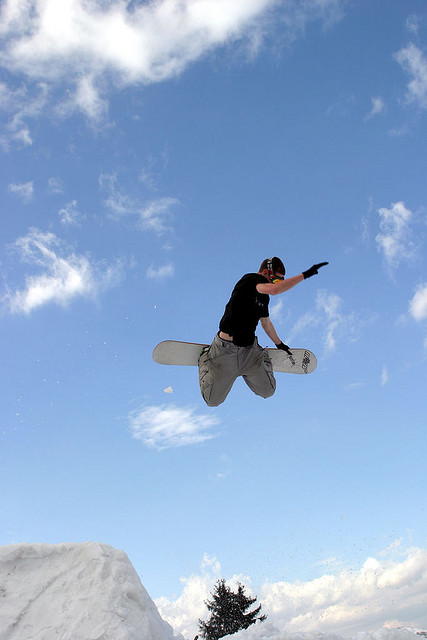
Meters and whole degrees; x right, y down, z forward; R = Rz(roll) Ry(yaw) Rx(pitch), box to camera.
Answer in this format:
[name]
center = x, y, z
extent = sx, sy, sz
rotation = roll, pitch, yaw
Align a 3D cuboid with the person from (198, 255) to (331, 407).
[person]
center = 0.592, 0.256, 10.579
extent = 1.274, 2.774, 1.015
rotation = -3, 18, -14
